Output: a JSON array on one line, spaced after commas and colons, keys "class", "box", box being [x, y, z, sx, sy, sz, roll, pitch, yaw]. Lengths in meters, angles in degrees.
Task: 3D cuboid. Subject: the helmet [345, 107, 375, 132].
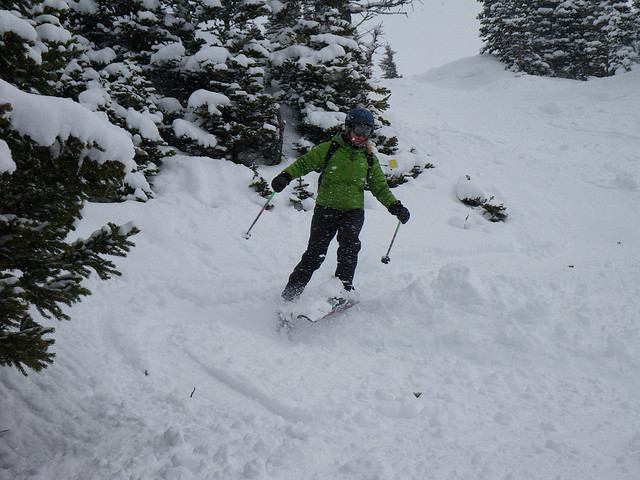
[{"class": "helmet", "box": [0.619, -1.935, 11.407, 0.345, 0.306, 0.391, 11, 26, 2]}]

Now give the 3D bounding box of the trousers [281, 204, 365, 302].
[{"class": "trousers", "box": [0.065, 0.199, 11.382, 1.262, 1.327, 0.785, -2, 31, 0]}]
